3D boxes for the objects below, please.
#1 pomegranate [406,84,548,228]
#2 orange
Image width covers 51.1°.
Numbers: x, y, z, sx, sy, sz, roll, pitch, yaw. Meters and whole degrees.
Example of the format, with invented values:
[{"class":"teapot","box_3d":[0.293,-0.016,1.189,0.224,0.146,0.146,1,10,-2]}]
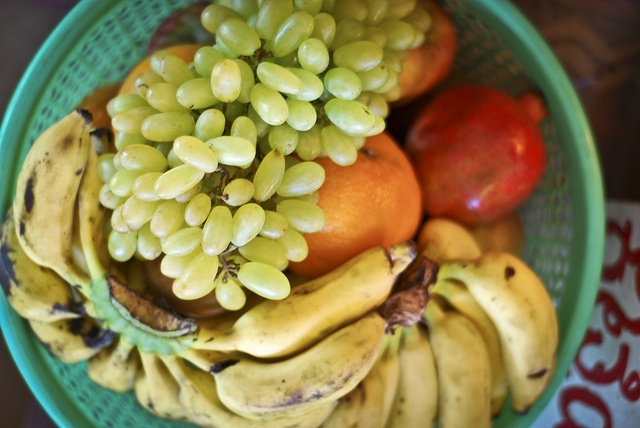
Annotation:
[{"class":"pomegranate","box_3d":[0.310,-0.092,1.317,0.165,0.266,0.234,-19,36,-25]},{"class":"orange","box_3d":[0.066,-0.014,1.343,0.233,0.241,0.262,0,78,-5]}]
